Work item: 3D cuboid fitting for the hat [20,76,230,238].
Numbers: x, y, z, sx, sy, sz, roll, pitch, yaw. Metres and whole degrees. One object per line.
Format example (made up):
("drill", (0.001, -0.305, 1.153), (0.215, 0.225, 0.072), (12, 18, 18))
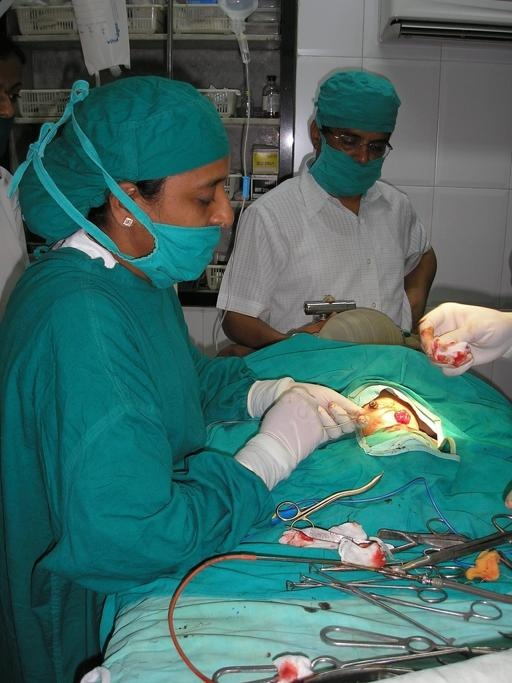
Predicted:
("hat", (-0.247, -0.320, 1.134), (0.373, 0.166, 0.263), (-17, 47, 6))

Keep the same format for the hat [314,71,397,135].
("hat", (0.381, -0.836, 2.050), (0.284, 0.157, 0.282), (-14, 29, -28))

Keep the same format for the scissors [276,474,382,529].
("scissors", (0.134, 0.297, 1.064), (0.185, 0.018, 0.065), (-18, 39, -8))
